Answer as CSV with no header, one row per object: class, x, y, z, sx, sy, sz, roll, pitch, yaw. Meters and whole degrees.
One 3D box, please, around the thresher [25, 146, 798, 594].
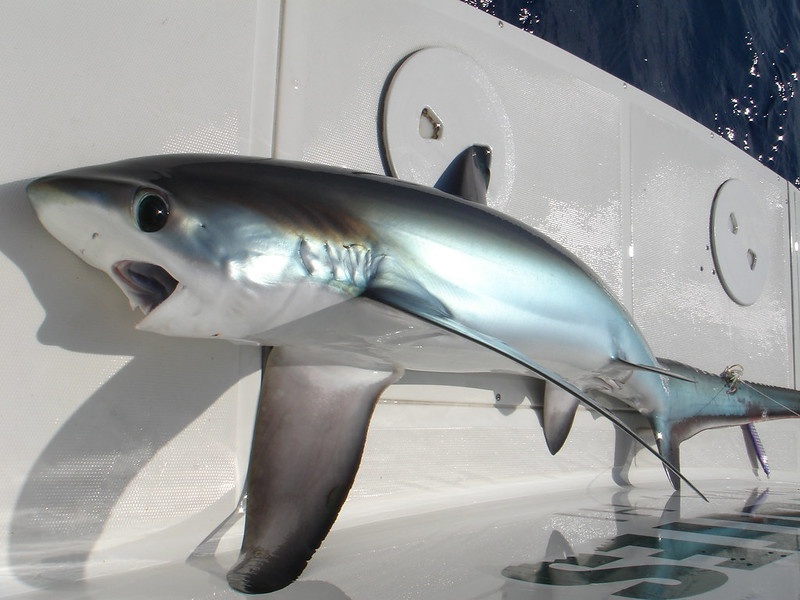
thresher,0.017,0.220,1.754,1.626,0.779,0.673,15,-30,-18
